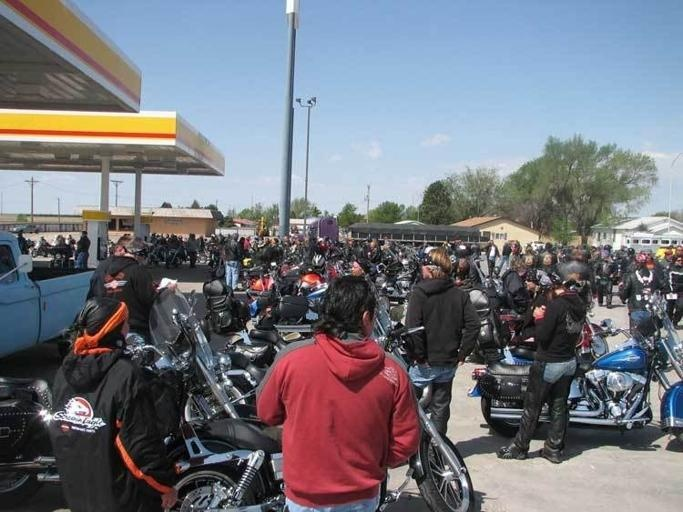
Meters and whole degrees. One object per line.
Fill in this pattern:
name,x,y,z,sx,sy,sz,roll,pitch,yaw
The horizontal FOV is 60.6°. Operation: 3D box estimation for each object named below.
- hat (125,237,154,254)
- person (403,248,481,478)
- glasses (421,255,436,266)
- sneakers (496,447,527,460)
hat,-2.289,-0.120,6.609,0.176,0.154,0.169,-4,-1,18
person,1.023,0.988,6.015,0.726,2.134,0.648,3,7,16
glasses,0.899,0.033,6.001,0.097,0.095,0.077,9,-5,-19
sneakers,1.865,2.163,6.415,0.250,0.112,0.153,5,-3,15
